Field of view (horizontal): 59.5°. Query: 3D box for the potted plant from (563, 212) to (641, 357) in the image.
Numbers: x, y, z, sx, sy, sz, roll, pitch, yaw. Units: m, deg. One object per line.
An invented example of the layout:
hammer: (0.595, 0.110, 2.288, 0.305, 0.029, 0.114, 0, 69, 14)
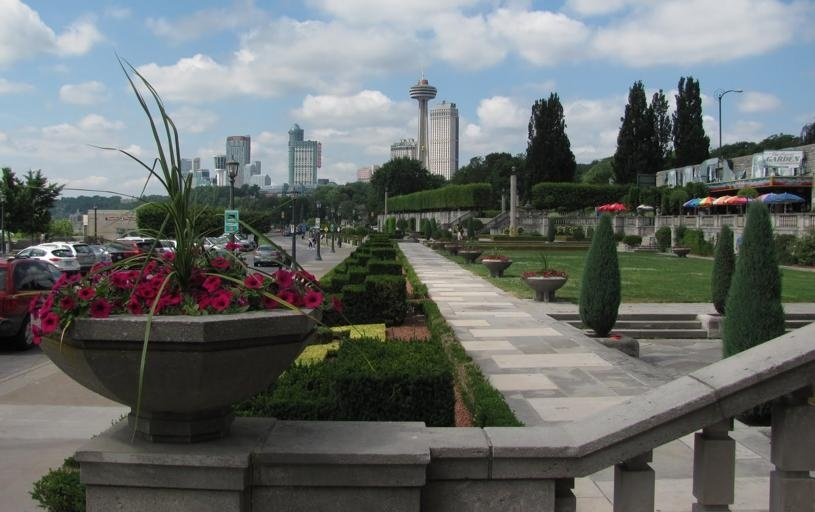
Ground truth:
potted plant: (3.940, 0.519, 14.004, 1.034, 2.758, 1.858, 0, 6, 15)

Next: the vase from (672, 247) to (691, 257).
vase: (16.678, -0.257, 43.440, 0.803, 0.457, 0.818, -1, -3, -5)
